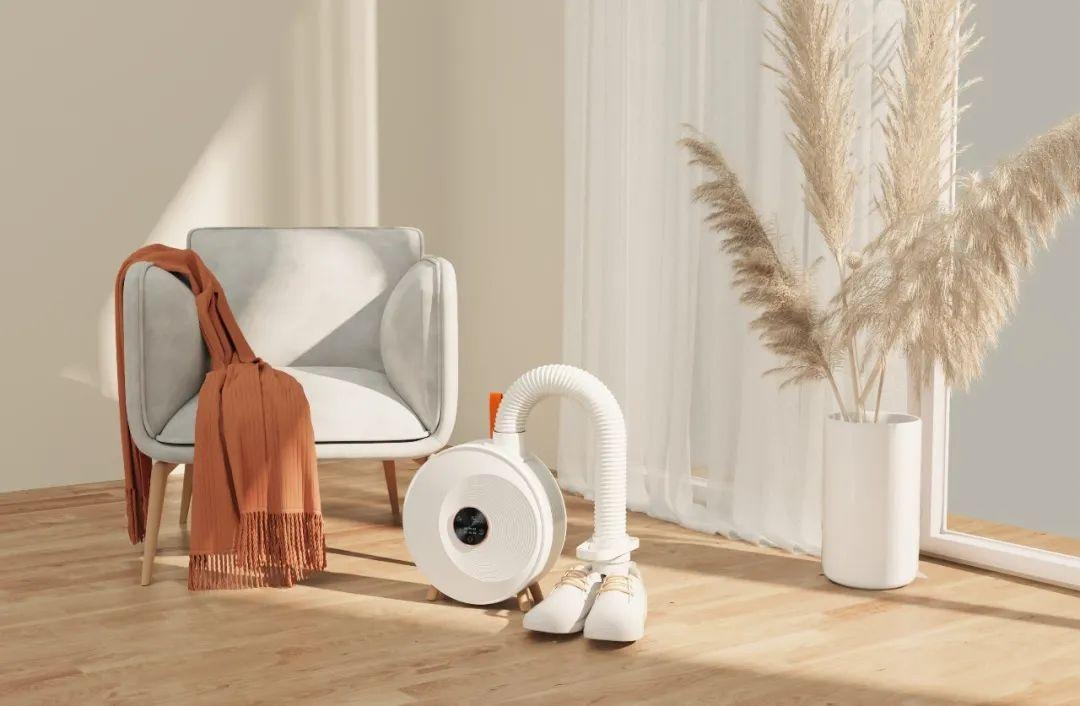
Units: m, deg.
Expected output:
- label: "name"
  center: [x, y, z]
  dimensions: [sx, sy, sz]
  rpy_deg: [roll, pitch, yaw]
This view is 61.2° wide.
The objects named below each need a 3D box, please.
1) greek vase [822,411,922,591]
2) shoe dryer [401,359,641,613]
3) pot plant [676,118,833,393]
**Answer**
- label: "greek vase"
  center: [1.061, 0.484, 2.932]
  dimensions: [0.308, 0.527, 0.201]
  rpy_deg: [3, 15, 15]
- label: "shoe dryer"
  center: [-0.062, 0.405, 2.753]
  dimensions: [0.697, 0.708, 0.235]
  rpy_deg: [-2, 14, -5]
- label: "pot plant"
  center: [0.710, -0.296, 3.108]
  dimensions: [0.453, 0.958, 0.443]
  rpy_deg: [-5, 9, -17]
